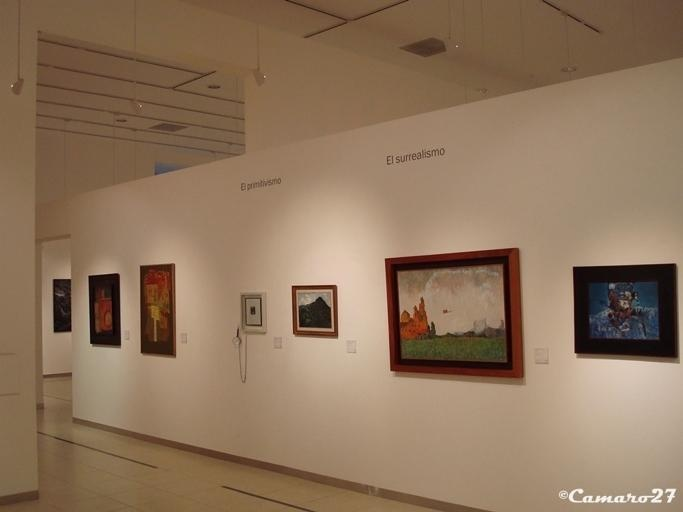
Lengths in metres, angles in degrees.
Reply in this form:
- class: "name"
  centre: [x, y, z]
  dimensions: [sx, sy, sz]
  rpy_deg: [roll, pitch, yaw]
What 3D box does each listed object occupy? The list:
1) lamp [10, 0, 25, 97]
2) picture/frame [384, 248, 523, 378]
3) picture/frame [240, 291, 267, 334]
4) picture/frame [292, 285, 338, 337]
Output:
- class: "lamp"
  centre: [-4.587, -2.982, 8.204]
  dimensions: [0.140, 1.472, 0.425]
  rpy_deg: [-1, -2, -30]
- class: "picture/frame"
  centre: [1.383, 0.688, 6.859]
  dimensions: [1.318, 1.296, 0.108]
  rpy_deg: [-4, -5, 36]
- class: "picture/frame"
  centre: [-1.361, 0.872, 8.949]
  dimensions: [0.453, 0.609, 0.054]
  rpy_deg: [-2, -2, 23]
- class: "picture/frame"
  centre: [-0.353, 0.782, 8.166]
  dimensions: [0.658, 0.717, 0.055]
  rpy_deg: [1, -1, 42]
